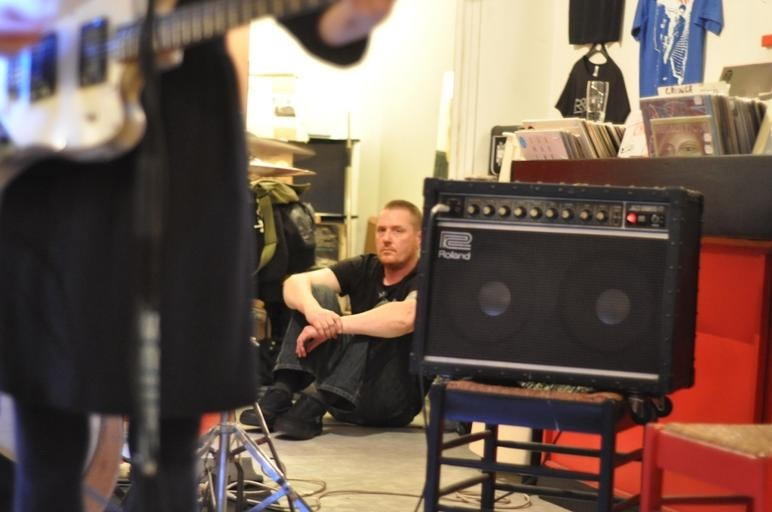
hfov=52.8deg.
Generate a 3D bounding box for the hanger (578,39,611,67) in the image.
[{"bbox_3d":[1.141,-1.096,4.227,0.159,0.164,0.007,2,16,7],"label":"hanger"}]

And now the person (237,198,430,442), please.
[{"bbox_3d":[-0.120,0.243,3.261,0.690,0.927,0.877,9,3,30],"label":"person"}]

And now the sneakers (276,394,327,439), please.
[{"bbox_3d":[-0.321,0.636,3.082,0.117,0.094,0.231,2,-1,30],"label":"sneakers"}]
